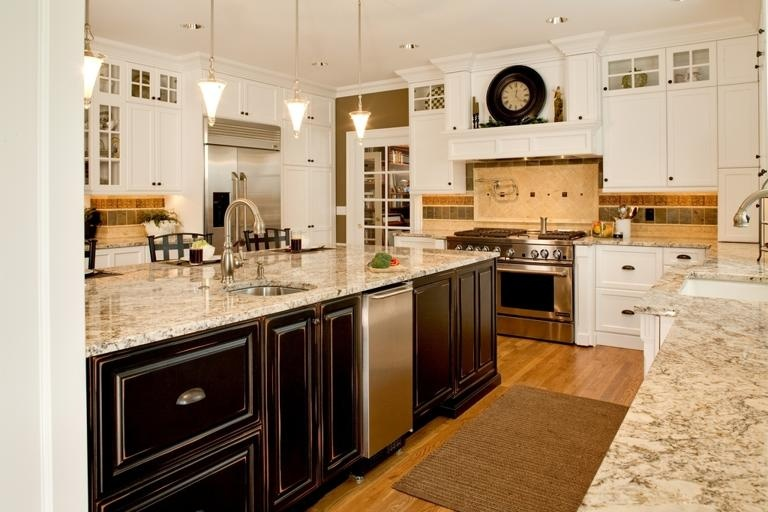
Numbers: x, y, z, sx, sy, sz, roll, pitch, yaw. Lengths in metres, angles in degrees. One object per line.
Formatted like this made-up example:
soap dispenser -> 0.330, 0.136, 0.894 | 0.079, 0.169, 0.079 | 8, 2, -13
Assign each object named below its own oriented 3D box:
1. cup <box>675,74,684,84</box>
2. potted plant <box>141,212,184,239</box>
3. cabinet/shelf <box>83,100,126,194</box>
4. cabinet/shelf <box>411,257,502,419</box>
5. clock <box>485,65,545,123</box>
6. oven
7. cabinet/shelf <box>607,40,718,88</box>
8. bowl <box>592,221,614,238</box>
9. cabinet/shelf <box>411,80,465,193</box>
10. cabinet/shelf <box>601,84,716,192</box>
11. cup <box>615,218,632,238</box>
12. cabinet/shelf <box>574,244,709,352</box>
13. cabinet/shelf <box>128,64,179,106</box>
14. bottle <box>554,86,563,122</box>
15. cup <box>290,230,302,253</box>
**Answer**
cup -> 2.914, -1.749, 5.346 | 0.104, 0.085, 0.059 | 5, 12, 39
potted plant -> -2.444, -0.343, 5.928 | 0.421, 0.274, 0.388 | -3, -1, 22
cabinet/shelf -> -2.889, -1.128, 5.574 | 0.130, 0.846, 0.414 | 2, 10, 24
cabinet/shelf -> 0.499, 0.599, 3.927 | 0.450, 1.030, 1.172 | -2, 1, 33
clock -> 1.456, -1.766, 5.932 | 0.747, 0.722, 0.087 | -2, 0, 41
oven -> 1.667, 0.430, 5.930 | 0.889, 0.789, 0.662 | 3, 9, 37
cabinet/shelf -> 2.717, -1.848, 5.407 | 0.945, 0.353, 0.211 | 3, 10, 29
bowl -> 2.330, -0.292, 5.785 | 0.182, 0.172, 0.181 | 0, 8, 0
cabinet/shelf -> 0.625, -1.444, 6.695 | 0.691, 1.319, 0.329 | 6, 12, 41
cabinet/shelf -> 2.746, -1.169, 5.345 | 1.130, 1.035, 0.550 | 2, 4, 33
cup -> 2.464, -0.285, 5.607 | 0.141, 0.190, 0.201 | 1, 9, 18
cabinet/shelf -> 1.973, 0.270, 4.206 | 1.095, 0.987, 0.562 | 0, 0, 33
cabinet/shelf -> -2.525, -1.861, 5.968 | 0.123, 0.350, 0.577 | 3, 10, 29
bottle -> 1.845, -1.614, 5.754 | 0.096, 0.368, 0.128 | -1, 9, 10
cup -> -0.712, -0.122, 4.379 | 0.096, 0.170, 0.160 | -4, 9, -9
